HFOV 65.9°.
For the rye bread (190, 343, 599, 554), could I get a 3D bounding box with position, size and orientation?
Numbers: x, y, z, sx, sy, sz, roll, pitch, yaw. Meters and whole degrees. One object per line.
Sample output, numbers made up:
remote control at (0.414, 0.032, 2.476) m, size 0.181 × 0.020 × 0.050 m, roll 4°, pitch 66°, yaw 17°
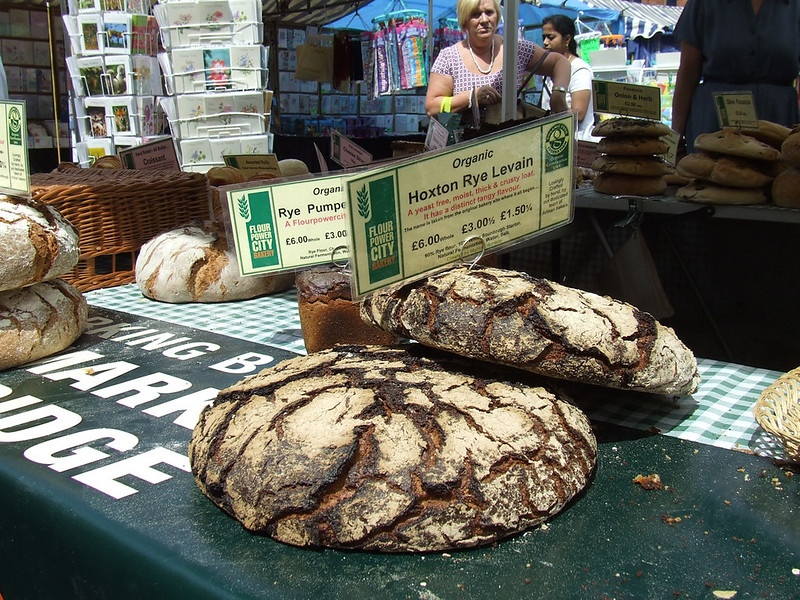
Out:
rye bread at (-0.034, 0.280, 1.186) m, size 0.766 × 0.231 × 0.387 m, roll 4°, pitch 21°, yaw 18°
